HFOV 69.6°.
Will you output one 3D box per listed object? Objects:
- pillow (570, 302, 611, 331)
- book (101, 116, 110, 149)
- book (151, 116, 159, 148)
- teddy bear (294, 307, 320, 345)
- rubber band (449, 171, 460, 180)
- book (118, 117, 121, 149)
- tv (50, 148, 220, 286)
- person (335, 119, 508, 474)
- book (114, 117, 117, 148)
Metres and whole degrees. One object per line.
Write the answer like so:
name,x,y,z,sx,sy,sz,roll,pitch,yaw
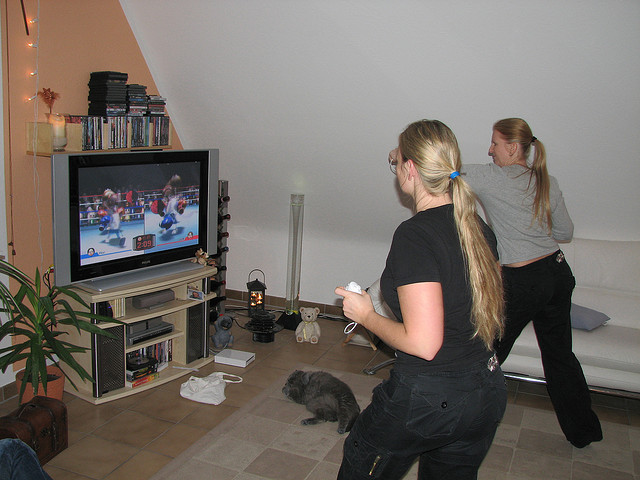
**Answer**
pillow,2.159,0.618,3.674,0.288,0.077,0.278,16,25,34
book,-1.649,-0.814,3.515,0.039,0.230,0.072,5,12,10
book,-1.423,-0.925,3.929,0.022,0.235,0.062,8,13,22
teddy bear,-0.126,0.811,4.441,0.247,0.323,0.207,3,12,-3
rubber band,0.409,-0.196,1.395,0.026,0.024,0.019,-3,13,-26
book,-1.583,-0.841,3.614,0.020,0.236,0.042,0,13,-15
tv,-1.396,-0.171,3.360,0.040,0.710,1.102,6,11,36
person,0.319,0.202,1.429,0.556,1.125,0.347,7,13,18
book,-1.599,-0.836,3.585,0.019,0.229,0.044,0,13,-15
